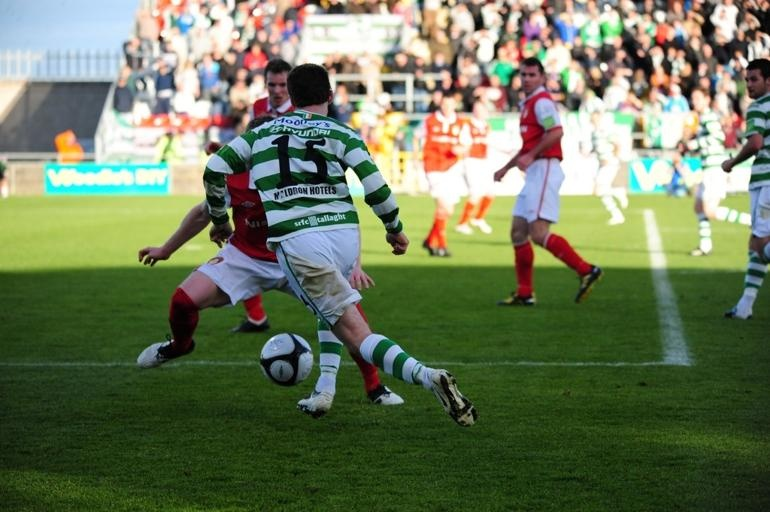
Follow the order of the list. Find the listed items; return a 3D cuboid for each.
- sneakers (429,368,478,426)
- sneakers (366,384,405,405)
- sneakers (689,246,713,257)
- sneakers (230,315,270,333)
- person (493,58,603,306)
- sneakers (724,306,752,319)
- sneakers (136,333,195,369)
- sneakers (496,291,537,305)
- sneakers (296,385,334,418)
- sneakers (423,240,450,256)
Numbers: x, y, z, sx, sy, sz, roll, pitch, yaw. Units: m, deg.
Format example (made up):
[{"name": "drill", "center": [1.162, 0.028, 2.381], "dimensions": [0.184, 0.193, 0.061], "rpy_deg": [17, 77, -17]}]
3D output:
[{"name": "sneakers", "center": [0.394, 0.825, 5.497], "dimensions": [0.170, 0.426, 0.195], "rpy_deg": [-36, 3, -12]}, {"name": "sneakers", "center": [0.004, 0.945, 6.254], "dimensions": [0.224, 0.102, 0.117], "rpy_deg": [0, 2, 25]}, {"name": "sneakers", "center": [4.083, -0.060, 11.944], "dimensions": [0.309, 0.132, 0.114], "rpy_deg": [2, 11, -3]}, {"name": "sneakers", "center": [-1.162, 0.613, 8.094], "dimensions": [0.347, 0.141, 0.119], "rpy_deg": [1, -1, 3]}, {"name": "person", "center": [1.459, -0.643, 8.660], "dimensions": [0.748, 2.410, 1.197], "rpy_deg": [-3, 12, -11]}, {"name": "sneakers", "center": [3.124, 0.517, 8.222], "dimensions": [0.252, 0.103, 0.093], "rpy_deg": [0, -2, 36]}, {"name": "sneakers", "center": [-1.582, 0.702, 6.561], "dimensions": [0.466, 0.180, 0.189], "rpy_deg": [-18, 9, 8]}, {"name": "sneakers", "center": [1.291, 0.403, 9.053], "dimensions": [0.394, 0.154, 0.136], "rpy_deg": [2, 3, 9]}, {"name": "sneakers", "center": [-0.435, 0.966, 5.989], "dimensions": [0.110, 0.139, 0.299], "rpy_deg": [17, -15, -31]}, {"name": "sneakers", "center": [0.652, -0.099, 12.602], "dimensions": [0.164, 0.205, 0.468], "rpy_deg": [-2, 6, -36]}]
